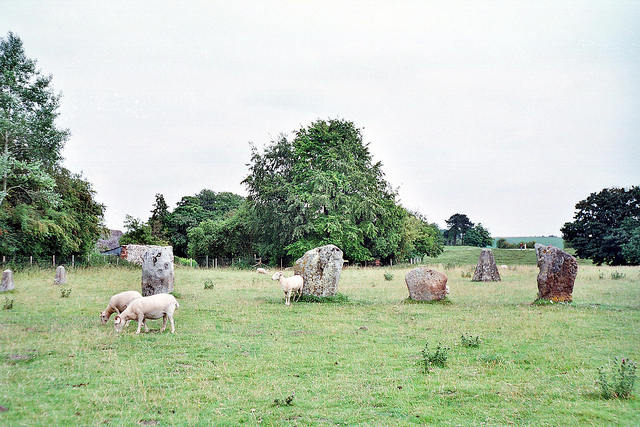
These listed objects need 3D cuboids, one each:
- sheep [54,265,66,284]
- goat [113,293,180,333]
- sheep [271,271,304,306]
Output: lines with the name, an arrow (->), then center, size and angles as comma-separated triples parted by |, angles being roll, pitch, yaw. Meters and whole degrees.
sheep -> -16.444, 3.858, 36.472 | 0.518, 0.912, 1.295 | -4, 11, -20
goat -> -7.464, 4.410, 24.972 | 2.875, 1.661, 0.792 | -4, -1, -22
sheep -> -1.762, 4.046, 31.247 | 0.779, 1.840, 2.239 | 4, 3, 42
